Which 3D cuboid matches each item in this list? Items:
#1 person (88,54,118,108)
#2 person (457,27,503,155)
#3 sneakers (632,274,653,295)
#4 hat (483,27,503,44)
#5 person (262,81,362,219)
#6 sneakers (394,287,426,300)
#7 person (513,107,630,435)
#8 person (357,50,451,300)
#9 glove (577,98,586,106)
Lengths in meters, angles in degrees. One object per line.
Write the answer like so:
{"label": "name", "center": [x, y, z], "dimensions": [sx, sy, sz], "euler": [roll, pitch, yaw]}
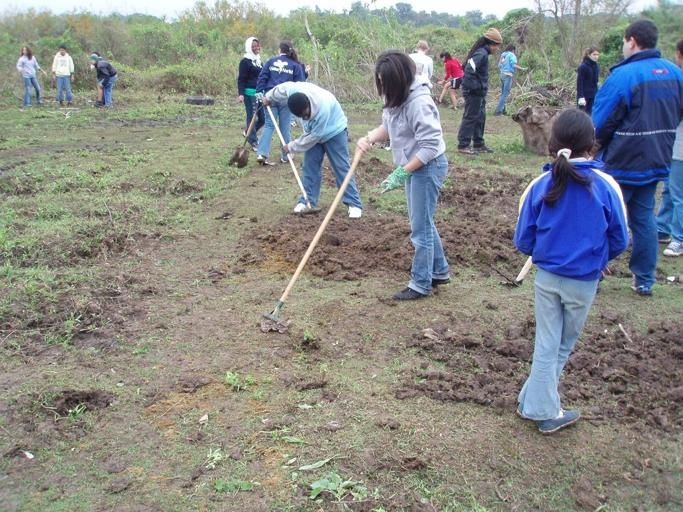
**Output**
{"label": "person", "center": [-7.004, -5.182, 17.184], "dimensions": [0.645, 1.531, 2.589], "euler": [-9, 18, -21]}
{"label": "person", "center": [2.591, -3.104, 11.090], "dimensions": [0.714, 2.258, 0.774], "euler": [8, 19, 30]}
{"label": "sneakers", "center": [3.341, 0.305, 6.492], "dimensions": [0.115, 0.147, 0.323], "euler": [1, 20, 19]}
{"label": "hat", "center": [2.873, -4.088, 10.925], "dimensions": [0.290, 0.292, 0.769], "euler": [8, 19, 29]}
{"label": "person", "center": [-0.370, -1.390, 7.682], "dimensions": [0.943, 1.716, 1.181], "euler": [-4, 17, -7]}
{"label": "sneakers", "center": [0.719, 0.406, 6.328], "dimensions": [0.359, 0.152, 0.131], "euler": [3, 3, -2]}
{"label": "person", "center": [1.761, 0.152, 4.595], "dimensions": [0.791, 2.528, 0.529], "euler": [2, 17, 15]}
{"label": "person", "center": [0.694, -0.765, 5.960], "dimensions": [0.807, 2.524, 0.533], "euler": [1, 17, 9]}
{"label": "glove", "center": [4.544, -2.918, 11.039], "dimensions": [0.137, 0.087, 0.168], "euler": [6, -19, 8]}
